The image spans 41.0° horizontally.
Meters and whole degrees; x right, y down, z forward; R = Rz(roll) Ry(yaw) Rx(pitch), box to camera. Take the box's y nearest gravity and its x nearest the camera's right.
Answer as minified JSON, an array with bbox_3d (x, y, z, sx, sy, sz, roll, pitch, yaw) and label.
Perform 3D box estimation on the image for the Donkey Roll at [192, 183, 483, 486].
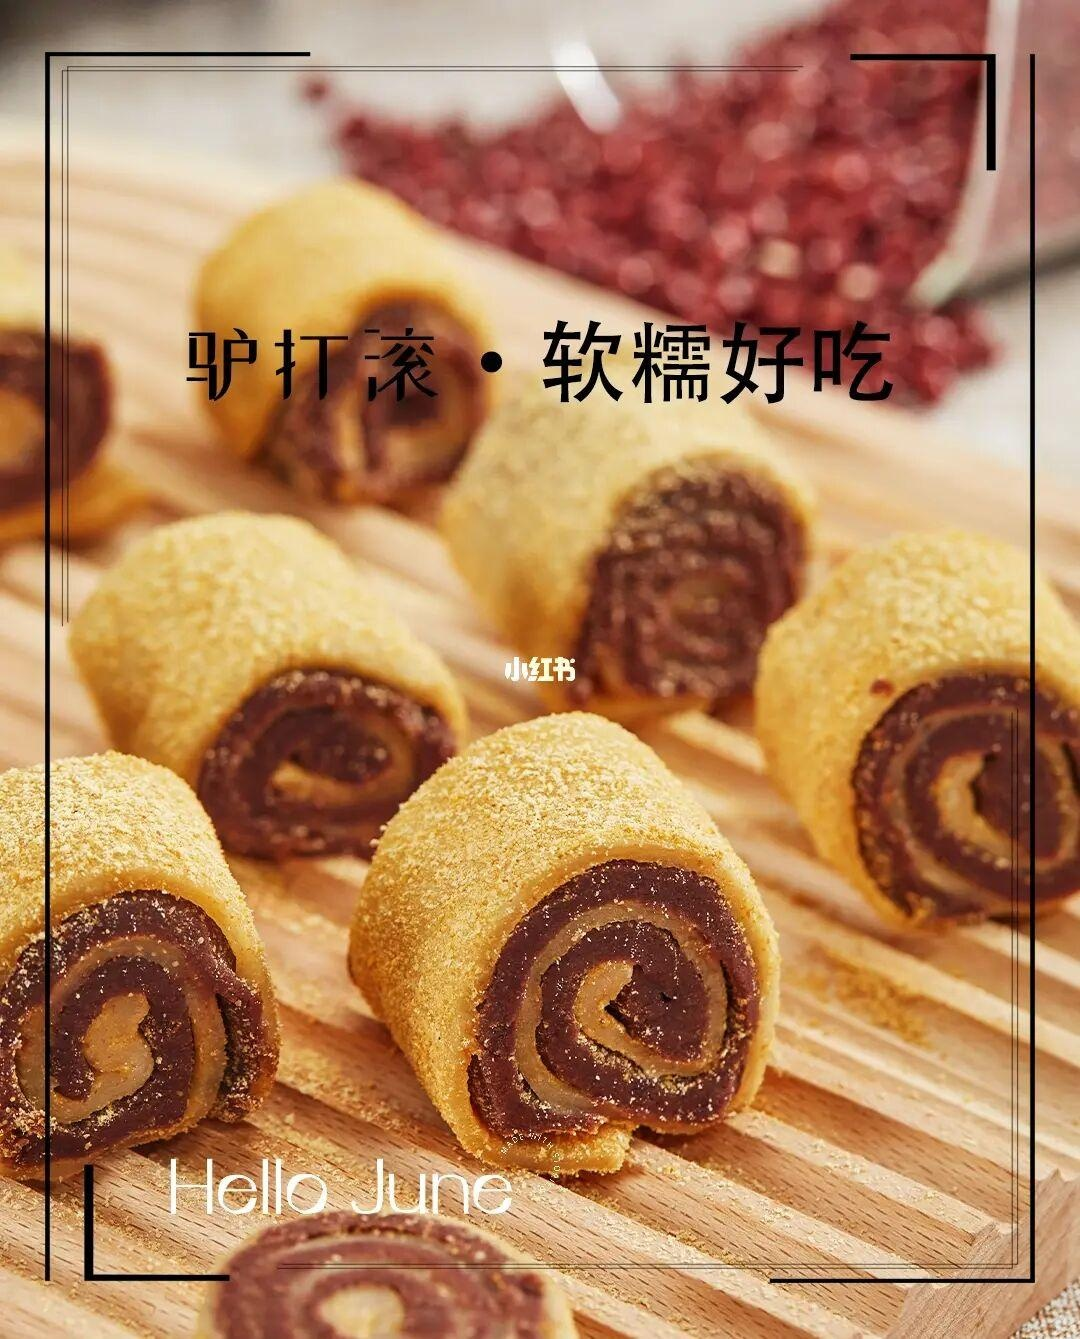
[{"bbox_3d":[-0.134,-0.219,0.971,0.189,0.197,0.103,-4,34,-8],"label":"Donkey Roll"}]

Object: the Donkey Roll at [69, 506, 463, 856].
[{"bbox_3d":[-0.181,0.004,1.107,0.254,0.190,0.269,2,33,-1],"label":"Donkey Roll"}]
